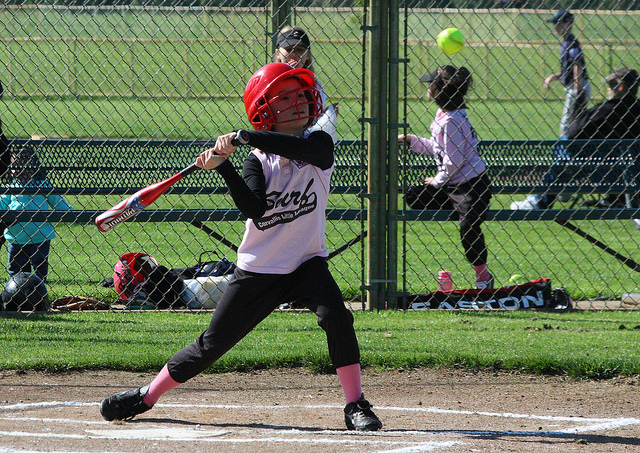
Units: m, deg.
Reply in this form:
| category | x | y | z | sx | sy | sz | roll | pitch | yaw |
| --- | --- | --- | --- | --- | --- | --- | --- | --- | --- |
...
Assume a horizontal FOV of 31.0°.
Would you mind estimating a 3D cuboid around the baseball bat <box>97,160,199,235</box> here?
| category | x | y | z | sx | sy | sz | roll | pitch | yaw |
| --- | --- | --- | --- | --- | --- | --- | --- | --- | --- |
| baseball bat | -1.670 | -0.289 | 11.067 | 1.171 | 0.169 | 0.175 | -31 | 11 | -3 |

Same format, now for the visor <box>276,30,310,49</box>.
| category | x | y | z | sx | sy | sz | roll | pitch | yaw |
| --- | --- | --- | --- | --- | --- | --- | --- | --- | --- |
| visor | -0.252 | -1.706 | 10.424 | 0.286 | 0.159 | 0.232 | -1 | 12 | -2 |

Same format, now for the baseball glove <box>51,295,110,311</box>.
| category | x | y | z | sx | sy | sz | roll | pitch | yaw |
| --- | --- | --- | --- | --- | --- | --- | --- | --- | --- |
| baseball glove | -2.355 | 0.744 | 11.131 | 0.358 | 0.090 | 0.226 | -4 | 1 | -9 |

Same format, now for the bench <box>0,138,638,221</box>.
| category | x | y | z | sx | sy | sz | roll | pitch | yaw |
| --- | --- | --- | --- | --- | --- | --- | --- | --- | --- |
| bench | -0.551 | -0.558 | 11.534 | 5.601 | 1.018 | 1.015 | -1 | -5 | -3 |

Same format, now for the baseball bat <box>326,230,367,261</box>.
| category | x | y | z | sx | sy | sz | roll | pitch | yaw |
| --- | --- | --- | --- | --- | --- | --- | --- | --- | --- |
| baseball bat | 0.269 | 0.210 | 12.533 | 0.532 | 0.073 | 0.074 | -39 | -5 | -24 |

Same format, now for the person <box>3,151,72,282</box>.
| category | x | y | z | sx | sy | sz | roll | pitch | yaw |
| --- | --- | --- | --- | --- | --- | --- | --- | --- | --- |
| person | -2.824 | -0.043 | 11.435 | 0.613 | 1.510 | 1.676 | -4 | 13 | -16 |

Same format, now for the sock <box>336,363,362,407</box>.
| category | x | y | z | sx | sy | sz | roll | pitch | yaw |
| --- | --- | --- | --- | --- | --- | --- | --- | --- | --- |
| sock | 0.216 | 1.188 | 8.684 | 0.183 | 0.312 | 0.122 | 0 | 12 | 0 |

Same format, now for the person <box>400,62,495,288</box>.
| category | x | y | z | sx | sy | sz | roll | pitch | yaw |
| --- | --- | --- | --- | --- | --- | --- | --- | --- | --- |
| person | 1.279 | -0.480 | 11.286 | 0.849 | 2.175 | 0.443 | 2 | 12 | 9 |

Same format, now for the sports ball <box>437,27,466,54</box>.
| category | x | y | z | sx | sy | sz | roll | pitch | yaw |
| --- | --- | --- | --- | --- | --- | --- | --- | --- | --- |
| sports ball | 1.367 | -1.959 | 12.174 | 0.274 | 0.276 | 0.388 | 1 | 12 | 6 |

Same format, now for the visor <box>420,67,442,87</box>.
| category | x | y | z | sx | sy | sz | roll | pitch | yaw |
| --- | --- | --- | --- | --- | --- | --- | --- | --- | --- |
| visor | 1.066 | -1.464 | 11.276 | 0.210 | 0.173 | 0.273 | 0 | 12 | 1 |
